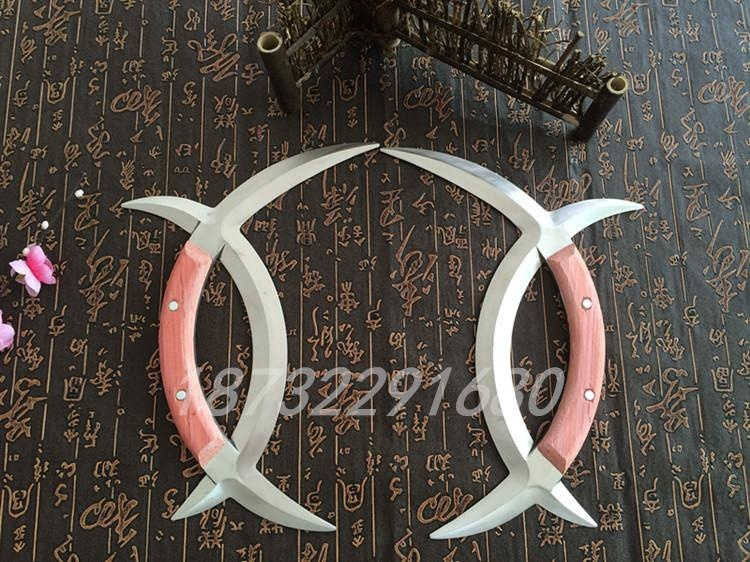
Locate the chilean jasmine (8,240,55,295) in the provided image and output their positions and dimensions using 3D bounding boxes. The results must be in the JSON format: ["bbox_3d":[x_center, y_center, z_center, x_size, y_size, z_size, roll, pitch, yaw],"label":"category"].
[{"bbox_3d":[-1.927,-0.072,5.738,0.262,0.133,0.278,23,67,-32],"label":"chilean jasmine"}]
